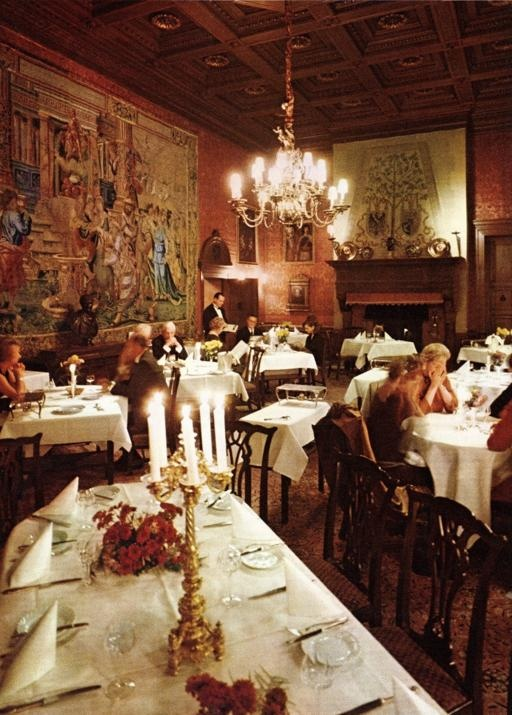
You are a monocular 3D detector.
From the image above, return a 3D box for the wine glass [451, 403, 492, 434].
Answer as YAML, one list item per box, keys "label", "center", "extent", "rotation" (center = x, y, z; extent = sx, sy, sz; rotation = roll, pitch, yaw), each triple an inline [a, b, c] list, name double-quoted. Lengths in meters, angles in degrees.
- label: "wine glass"
  center: [1.476, 0.430, 3.693]
  extent: [0.203, 0.176, 0.206]
  rotation: [2, 7, 23]
